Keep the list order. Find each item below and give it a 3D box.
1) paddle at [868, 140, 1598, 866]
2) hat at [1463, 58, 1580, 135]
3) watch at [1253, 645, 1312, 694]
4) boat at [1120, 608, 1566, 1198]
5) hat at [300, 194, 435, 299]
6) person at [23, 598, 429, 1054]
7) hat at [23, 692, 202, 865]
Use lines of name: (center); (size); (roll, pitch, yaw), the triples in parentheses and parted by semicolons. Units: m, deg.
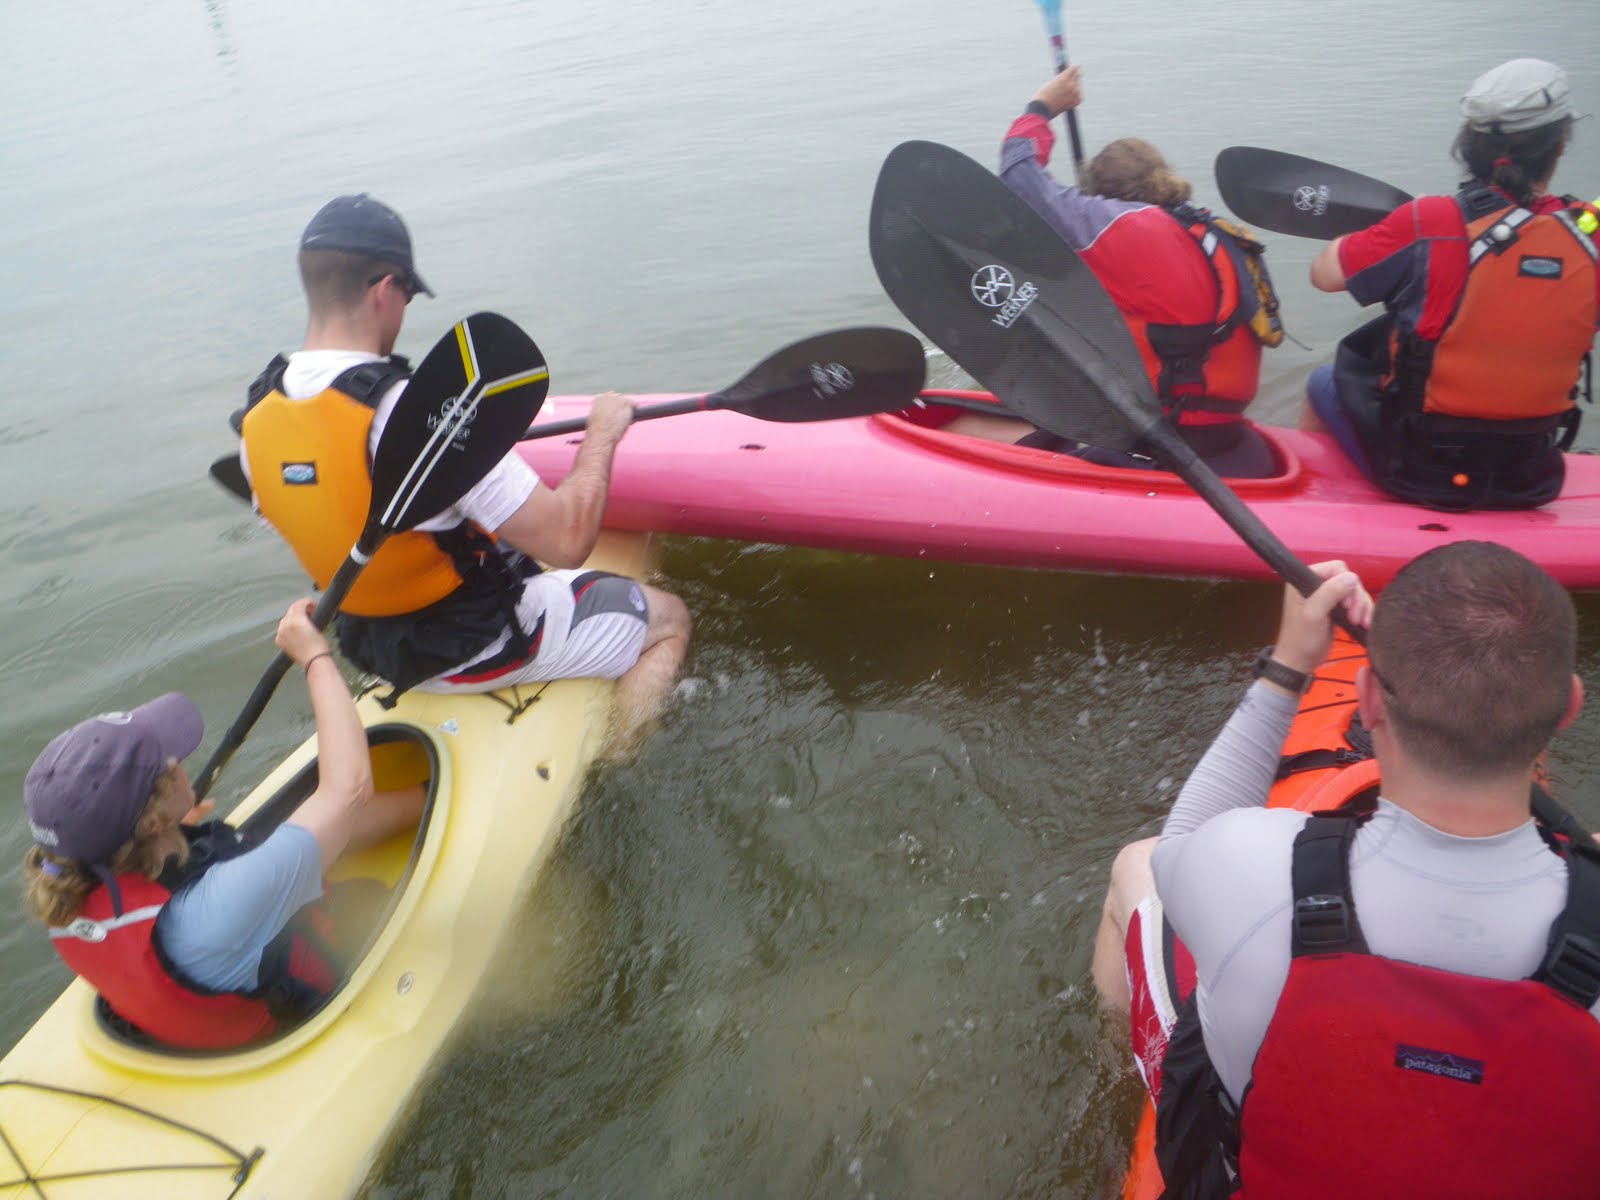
paddle: (1.089, -0.230, 3.754); (0.413, 0.267, 2.687); (-44, 81, 10)
hat: (1.970, -1.391, 3.941); (0.263, 0.142, 0.360); (12, 30, 42)
watch: (1.009, 0.149, 2.983); (0.086, 0.097, 0.063); (22, 89, 39)
boat: (1.061, 0.481, 3.292); (0.501, 0.385, 1.686); (5, 29, 14)
hat: (-1.017, -0.830, 3.393); (0.269, 0.158, 0.182); (4, 12, -41)
person: (-1.158, 0.421, 3.139); (0.497, 0.581, 0.934); (22, 39, 17)
hat: (-1.368, 0.363, 2.891); (0.232, 0.193, 0.372); (17, 67, 29)
